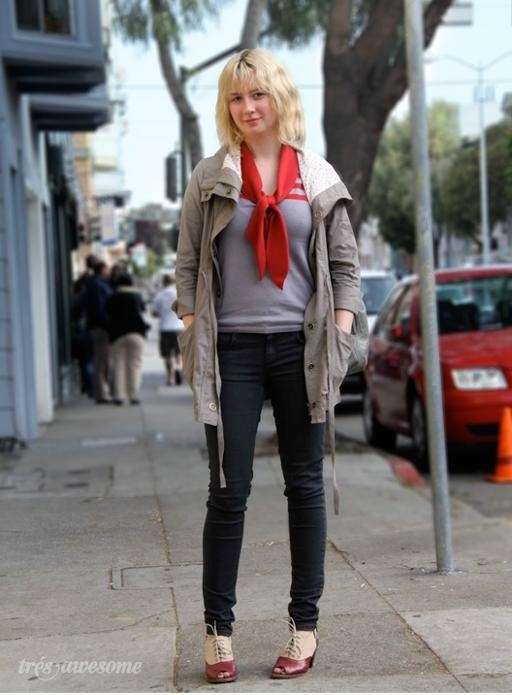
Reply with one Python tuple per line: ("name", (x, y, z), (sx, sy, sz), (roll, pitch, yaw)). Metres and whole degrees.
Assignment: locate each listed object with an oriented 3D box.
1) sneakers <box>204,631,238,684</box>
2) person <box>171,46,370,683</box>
("sneakers", (-0.109, 0.941, 3.561), (0.100, 0.139, 0.168), (0, 2, -2))
("person", (0.057, 0.037, 3.612), (0.610, 1.932, 0.306), (0, 2, -4))
